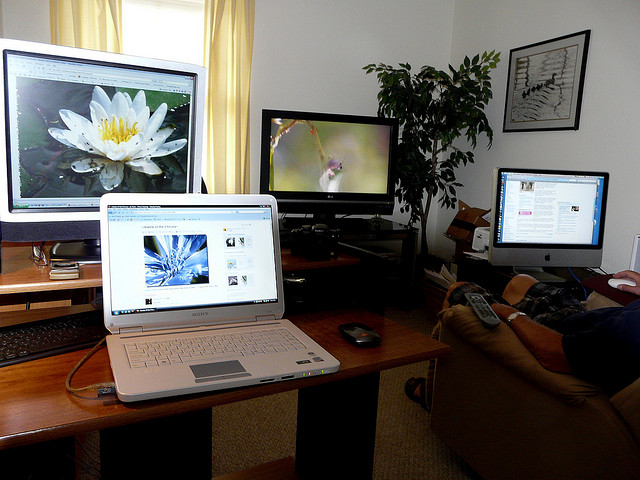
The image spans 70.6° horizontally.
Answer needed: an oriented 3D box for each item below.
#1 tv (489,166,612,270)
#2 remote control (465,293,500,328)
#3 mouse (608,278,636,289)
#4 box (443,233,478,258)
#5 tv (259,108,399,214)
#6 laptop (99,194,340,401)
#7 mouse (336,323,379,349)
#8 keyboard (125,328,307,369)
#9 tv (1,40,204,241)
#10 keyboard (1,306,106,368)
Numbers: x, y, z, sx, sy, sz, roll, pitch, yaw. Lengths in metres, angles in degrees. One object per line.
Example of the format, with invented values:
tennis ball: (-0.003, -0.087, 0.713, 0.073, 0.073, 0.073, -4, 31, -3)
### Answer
tv: (1.286, -0.136, 2.599, 0.644, 0.582, 0.201, 1, 9, 0)
remote control: (0.611, 0.255, 1.701, 0.074, 0.023, 0.231, 3, 24, -4)
mouse: (1.439, 0.195, 2.144, 0.053, 0.017, 0.074, -6, 11, -37)
box: (1.092, 0.021, 3.628, 0.208, 0.137, 0.211, 0, 8, -15)
tv: (0.060, -0.567, 3.280, 0.899, 0.642, 0.119, 1, 8, -15)
laptop: (-0.298, 0.116, 1.274, 0.637, 0.387, 0.558, -6, 17, -40)
mouse: (0.114, 0.290, 1.395, 0.100, 0.034, 0.136, -4, 14, -20)
keyboard: (-0.292, 0.296, 1.269, 0.480, 0.019, 0.135, -3, 13, -17)
tv: (-0.713, -0.306, 1.444, 0.717, 0.585, 0.030, -1, 11, -22)
keyboard: (-0.779, 0.276, 1.334, 0.269, 0.045, 0.212, -8, 15, -33)
